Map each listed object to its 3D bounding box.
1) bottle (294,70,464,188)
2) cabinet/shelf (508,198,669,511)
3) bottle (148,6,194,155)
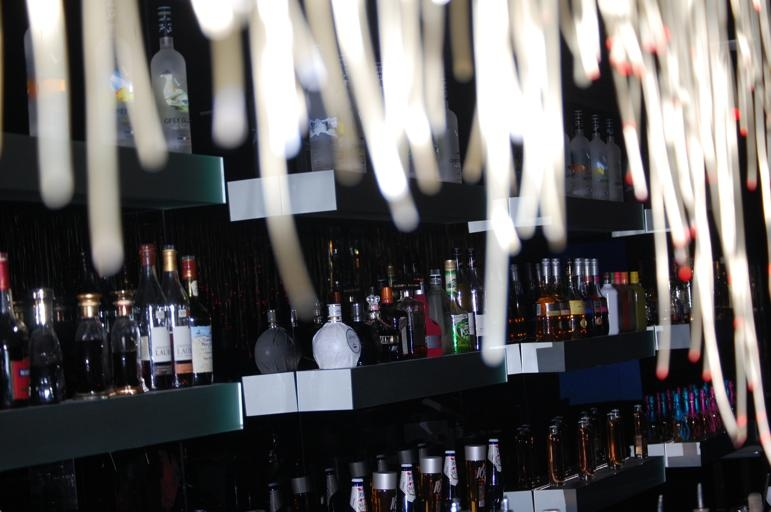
[{"bbox_3d":[-0.042,-0.394,2.575,0.405,0.429,0.106,-2,3,-19],"label":"bottle"},{"bbox_3d":[0.822,0.456,3.386,0.488,0.878,1.142,-8,-5,39],"label":"cabinet/shelf"},{"bbox_3d":[-0.624,-0.503,2.365,0.095,0.444,0.160,-3,-4,-17],"label":"bottle"}]
